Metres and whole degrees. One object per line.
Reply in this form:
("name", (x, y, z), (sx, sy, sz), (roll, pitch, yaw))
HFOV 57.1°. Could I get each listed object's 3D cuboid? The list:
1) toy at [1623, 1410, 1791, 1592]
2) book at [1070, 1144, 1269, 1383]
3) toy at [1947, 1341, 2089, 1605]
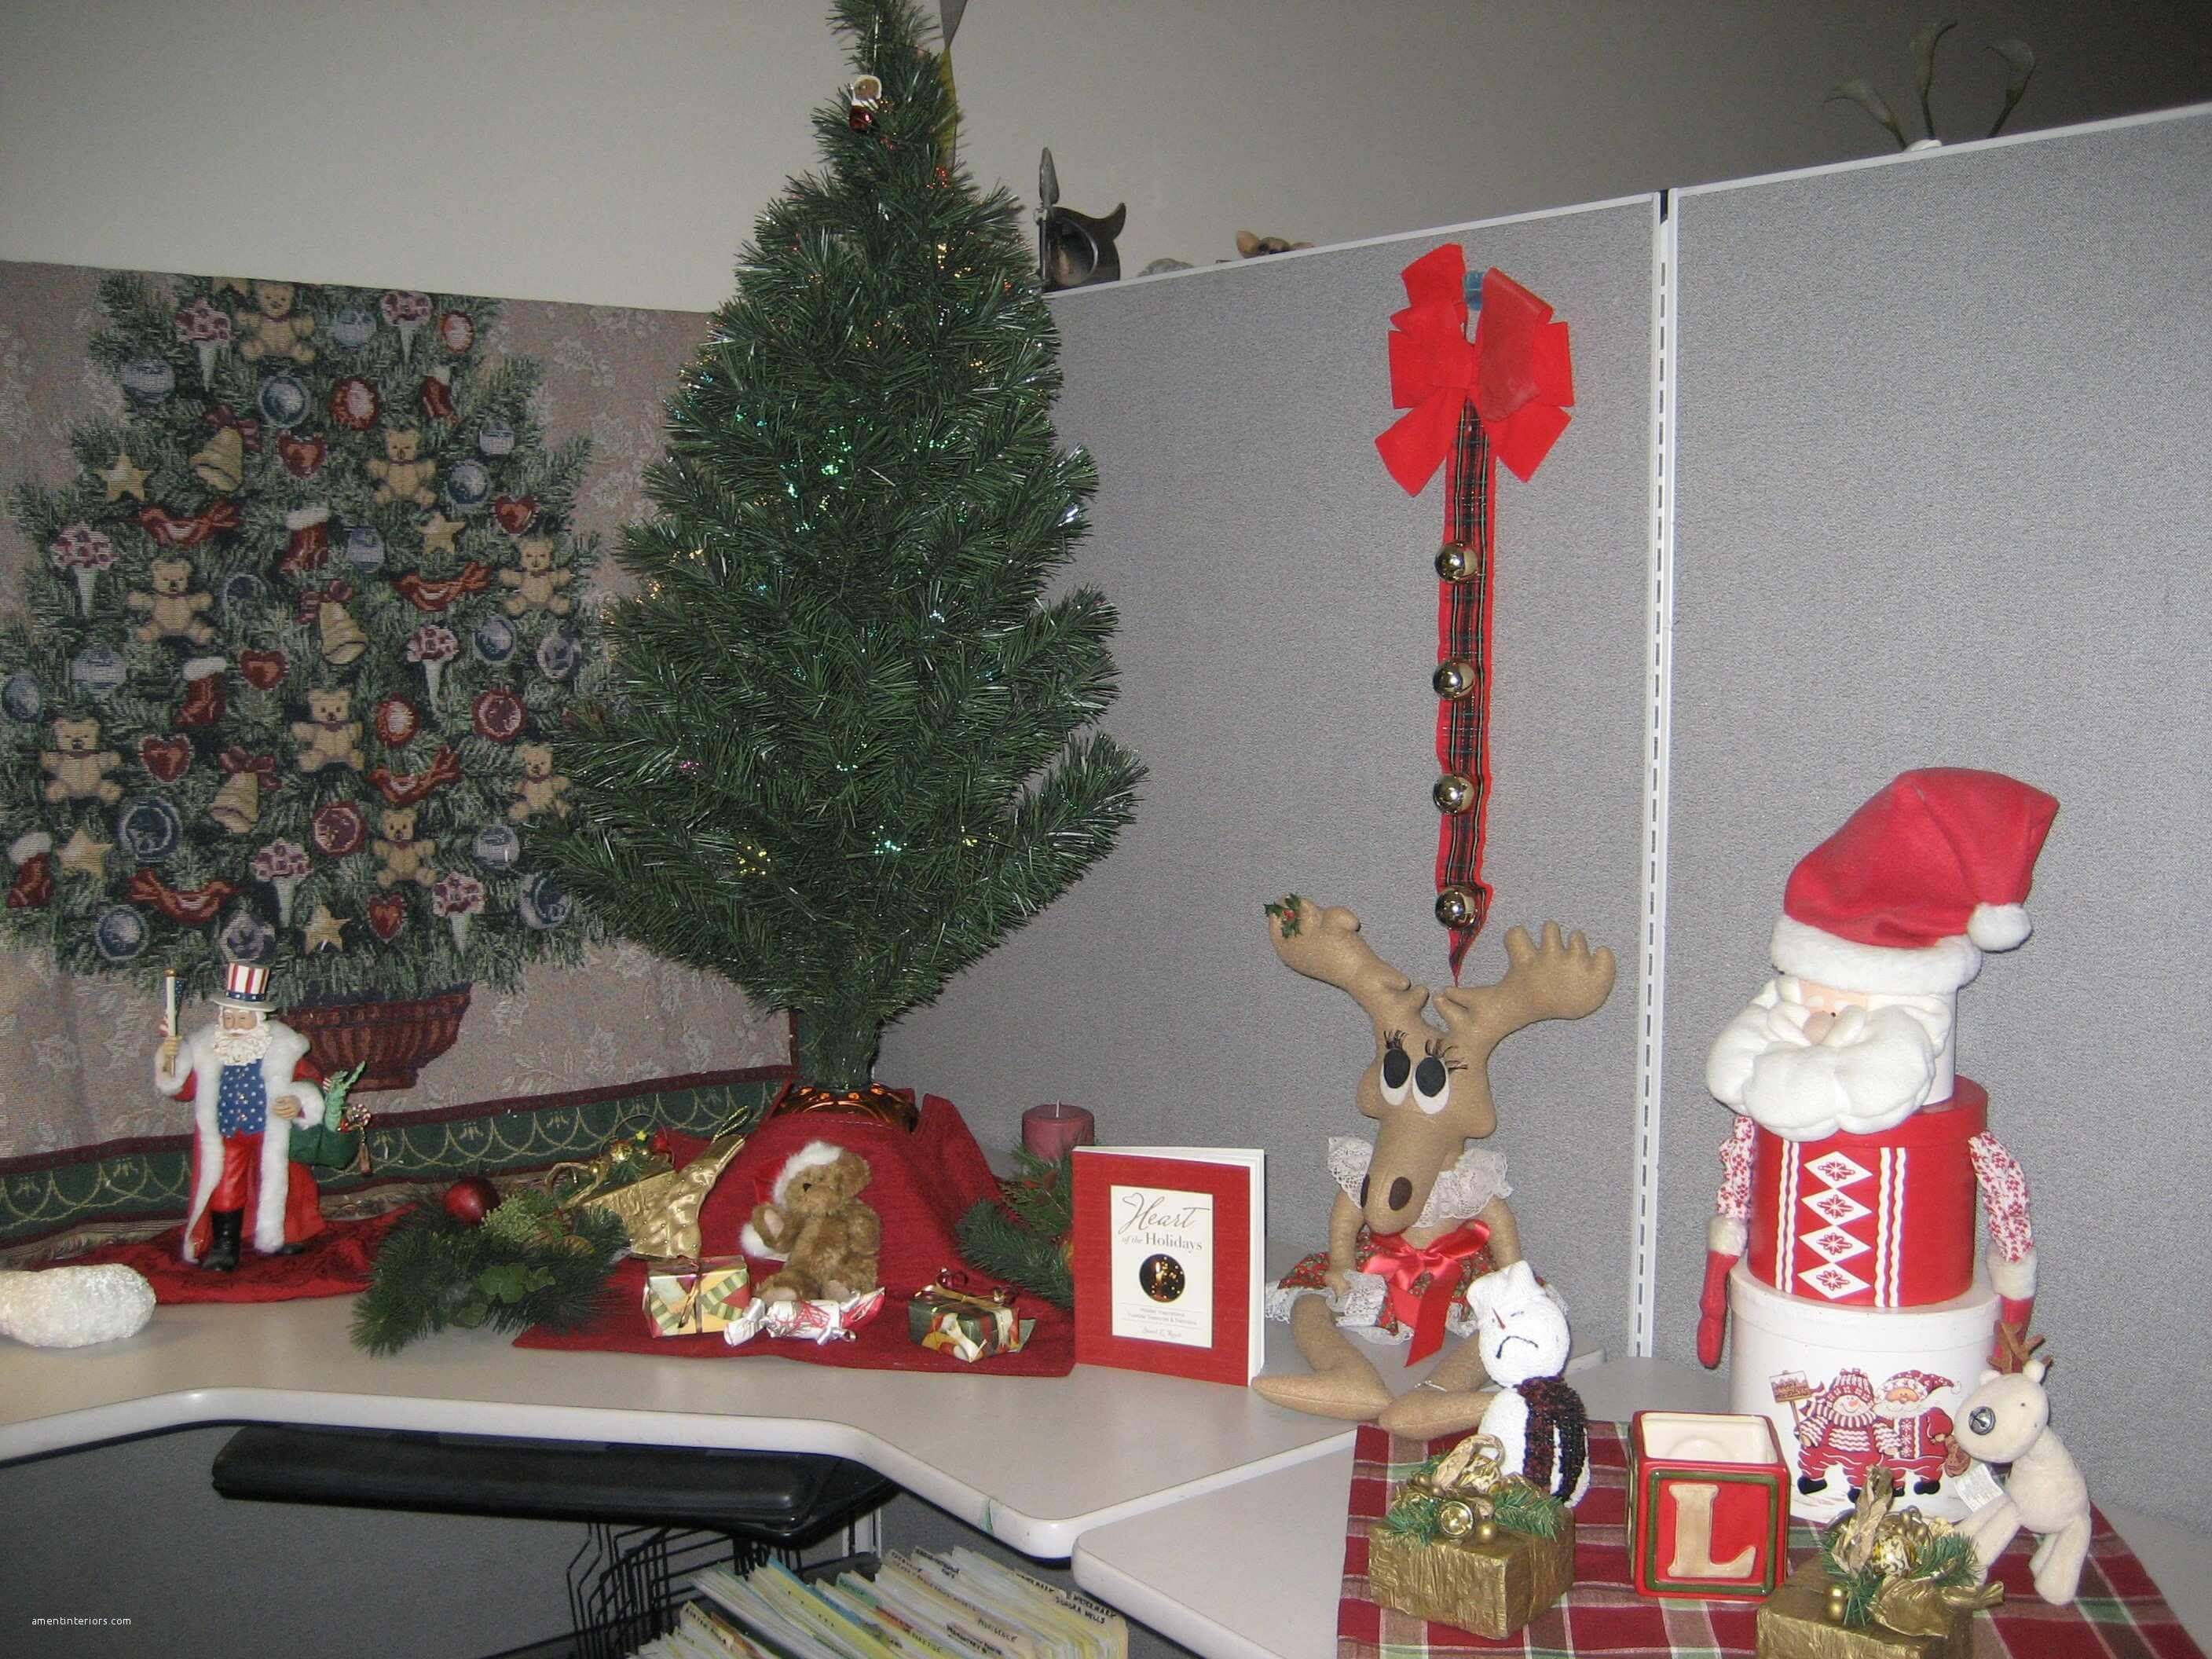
("toy", (0.520, 0.591, 1.791), (0.144, 0.123, 0.141), (0, 0, 5))
("book", (0.067, 0.453, 2.113), (0.254, 0.232, 0.046), (0, -2, 18))
("toy", (0.798, 0.563, 1.777), (0.091, 0.212, 0.227), (-3, -8, 43))
